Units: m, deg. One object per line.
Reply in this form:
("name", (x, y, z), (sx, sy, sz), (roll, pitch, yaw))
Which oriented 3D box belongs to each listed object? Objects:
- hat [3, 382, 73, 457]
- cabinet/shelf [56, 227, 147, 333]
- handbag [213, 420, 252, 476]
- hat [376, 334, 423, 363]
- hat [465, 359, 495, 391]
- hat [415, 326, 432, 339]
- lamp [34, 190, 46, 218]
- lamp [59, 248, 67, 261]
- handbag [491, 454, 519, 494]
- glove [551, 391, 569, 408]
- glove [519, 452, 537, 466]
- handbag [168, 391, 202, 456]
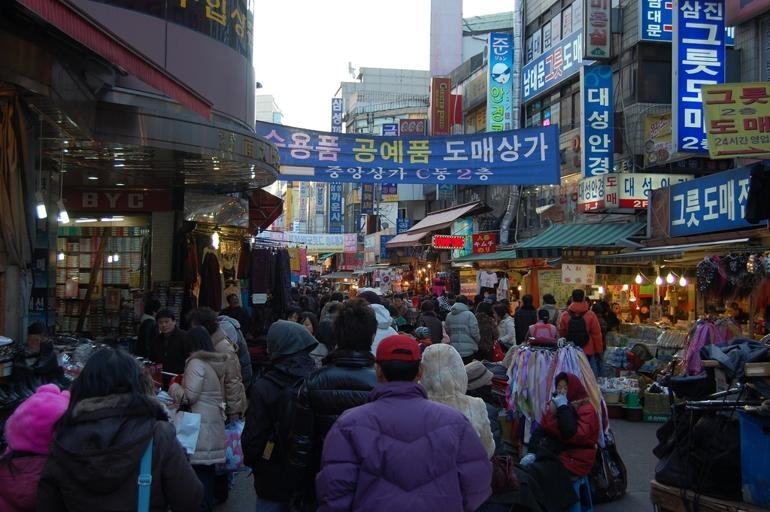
("hat", (-2.781, 1.344, 5.114), (0.335, 0.625, 0.447), (29, 8, -46))
("cabinet/shelf", (-6.546, 0.598, 14.834), (2.299, 2.215, 0.775), (2, -3, -2))
("handbag", (-1.852, 2.393, 7.720), (0.307, 0.725, 0.795), (1, -3, -14))
("hat", (0.120, 0.738, 5.123), (0.287, 0.216, 0.474), (1, -3, -1))
("hat", (1.145, 1.474, 7.762), (0.319, 0.345, 0.272), (0, -3, -4))
("hat", (0.632, 1.310, 10.665), (0.215, 0.209, 0.171), (-15, 13, -37))
("lamp", (-4.757, -0.719, 8.839), (0.115, 0.405, 0.458), (1, -3, -22))
("lamp", (-7.634, -0.037, 15.056), (0.089, 0.272, 0.233), (0, -3, 3))
("handbag", (1.092, 2.051, 5.944), (0.295, 0.328, 0.218), (1, -3, -18))
("glove", (1.953, 1.618, 7.127), (0.138, 0.106, 0.140), (1, -13, -19))
("glove", (1.520, 2.194, 6.787), (0.160, 0.119, 0.165), (8, -48, -35))
("handbag", (-1.940, 1.780, 6.243), (0.329, 0.589, 1.564), (1, -3, -18))
